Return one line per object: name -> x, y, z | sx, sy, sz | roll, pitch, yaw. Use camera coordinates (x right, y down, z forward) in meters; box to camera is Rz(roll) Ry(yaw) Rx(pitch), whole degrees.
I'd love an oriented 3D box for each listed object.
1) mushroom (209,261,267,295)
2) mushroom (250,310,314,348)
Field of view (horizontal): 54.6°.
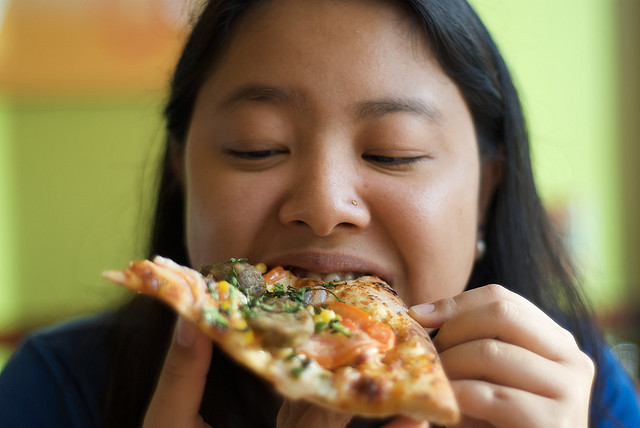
mushroom -> -0.652, 0.443, 4.768 | 0.438, 0.223, 0.326 | -5, 10, -35
mushroom -> -0.272, 0.816, 4.366 | 0.440, 0.219, 0.151 | -1, 8, -12
